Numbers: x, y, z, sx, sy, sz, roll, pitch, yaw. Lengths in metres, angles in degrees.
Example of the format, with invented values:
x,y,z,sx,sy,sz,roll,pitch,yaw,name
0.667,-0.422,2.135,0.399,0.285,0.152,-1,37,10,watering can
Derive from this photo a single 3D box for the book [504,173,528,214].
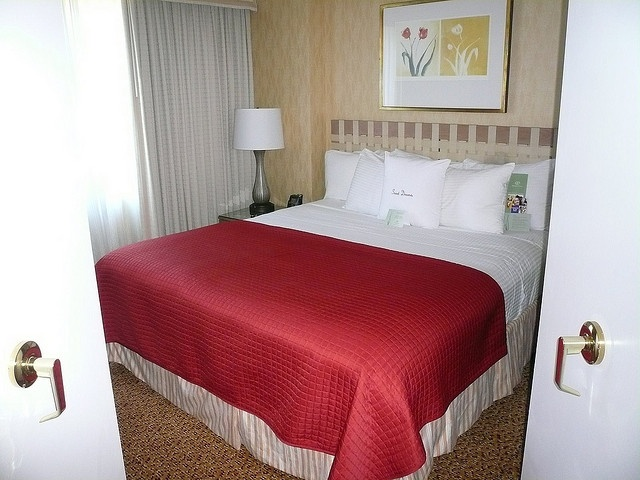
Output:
x,y,z,sx,sy,sz,roll,pitch,yaw,name
1.624,-0.396,3.573,0.100,0.347,0.008,8,8,26,book

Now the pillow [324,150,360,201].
x,y,z,sx,sy,sz,roll,pitch,yaw,name
0.202,-0.681,4.688,0.136,0.526,0.472,-4,15,-38,pillow
